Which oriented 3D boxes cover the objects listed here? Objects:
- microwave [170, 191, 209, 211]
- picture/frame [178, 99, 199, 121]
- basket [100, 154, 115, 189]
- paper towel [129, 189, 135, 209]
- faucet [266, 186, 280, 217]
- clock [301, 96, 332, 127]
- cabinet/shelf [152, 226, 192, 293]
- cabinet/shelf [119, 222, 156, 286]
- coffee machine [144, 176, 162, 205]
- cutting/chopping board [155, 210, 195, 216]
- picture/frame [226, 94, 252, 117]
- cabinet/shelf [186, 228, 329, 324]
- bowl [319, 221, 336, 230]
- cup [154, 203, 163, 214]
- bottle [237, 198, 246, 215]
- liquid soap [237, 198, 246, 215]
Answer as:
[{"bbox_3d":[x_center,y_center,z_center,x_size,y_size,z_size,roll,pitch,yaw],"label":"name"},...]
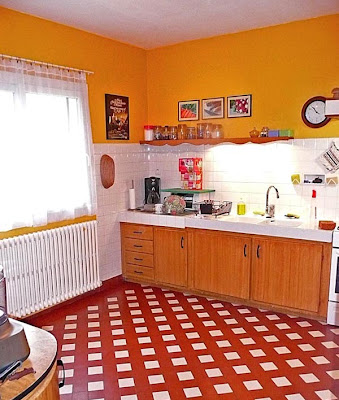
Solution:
[{"bbox_3d":[0.298,-0.027,4.378,0.309,0.187,0.313,3,5,29],"label":"microwave"},{"bbox_3d":[0.274,-1.286,4.507,0.328,0.272,0.015,5,7,37],"label":"picture/frame"},{"bbox_3d":[-0.811,-0.386,4.152,0.088,0.378,0.243,-1,-5,33],"label":"basket"},{"bbox_3d":[-0.535,-0.025,4.543,0.095,0.292,0.231,-2,5,-7],"label":"paper towel"},{"bbox_3d":[1.216,0.013,3.773,0.155,0.377,0.323,0,5,18],"label":"faucet"},{"bbox_3d":[1.660,-0.996,3.611,0.333,0.319,0.338,11,36,23],"label":"clock"},{"bbox_3d":[0.094,0.702,4.210,0.482,0.800,0.389,2,12,20],"label":"cabinet/shelf"},{"bbox_3d":[-0.336,0.712,4.451,0.493,0.835,0.420,4,9,29],"label":"cabinet/shelf"},{"bbox_3d":[-0.254,-0.145,4.598,0.233,0.385,0.236,-1,5,-5],"label":"coffee machine"},{"bbox_3d":[0.069,0.173,4.114,0.515,0.023,0.327,-2,5,-13],"label":"cutting/chopping board"},{"bbox_3d":[0.896,-1.218,4.062,0.335,0.276,0.016,3,6,38],"label":"picture/frame"},{"bbox_3d":[0.996,0.751,3.664,1.510,0.736,0.461,2,-2,28],"label":"cabinet/shelf"},{"bbox_3d":[1.554,0.248,3.150,0.094,0.060,0.134,1,4,9],"label":"bowl"},{"bbox_3d":[-0.142,0.104,4.191,0.116,0.129,0.117,1,7,0],"label":"cup"},{"bbox_3d":[0.896,0.095,4.098,0.152,0.262,0.153,0,5,0],"label":"bottle"},{"bbox_3d":[0.914,0.084,4.045,0.108,0.186,0.239,0,5,15],"label":"liquid soap"}]
